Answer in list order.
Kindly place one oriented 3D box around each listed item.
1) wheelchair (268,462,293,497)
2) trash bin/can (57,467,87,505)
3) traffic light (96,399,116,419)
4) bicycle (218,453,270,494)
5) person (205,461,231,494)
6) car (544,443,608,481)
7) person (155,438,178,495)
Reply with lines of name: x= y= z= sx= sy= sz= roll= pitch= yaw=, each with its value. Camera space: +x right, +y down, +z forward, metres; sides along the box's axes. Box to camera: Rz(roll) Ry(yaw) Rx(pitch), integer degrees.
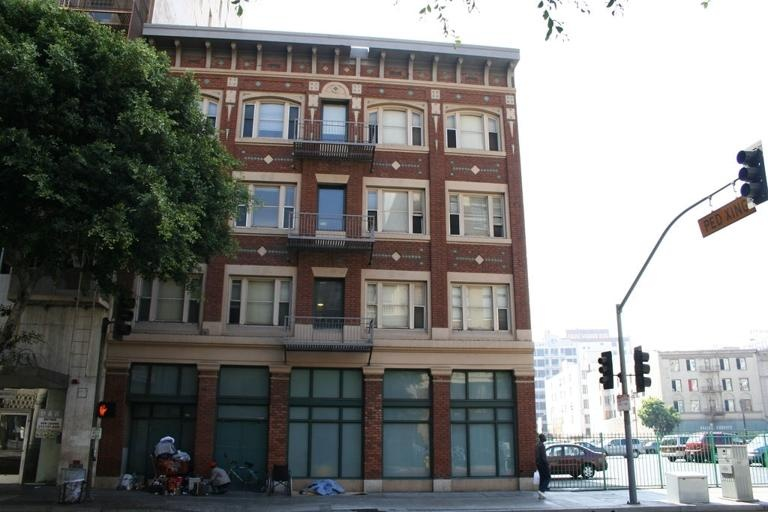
wheelchair: x=-4.452 y=9.792 z=29.423 sx=1.049 sy=1.250 sz=1.110 roll=1 pitch=-17 yaw=-1
trash bin/can: x=-11.470 y=8.503 z=25.111 sx=1.137 sy=1.487 sz=1.111 roll=4 pitch=-13 yaw=-14
traffic light: x=-10.510 y=5.854 z=25.627 sx=0.588 sy=0.542 sz=0.526 roll=10 pitch=-19 yaw=-29
bicycle: x=-6.412 y=9.905 z=30.332 sx=2.303 sy=1.319 sz=1.009 roll=-1 pitch=-23 yaw=3
person: x=-7.184 y=9.725 z=29.508 sx=1.026 sy=1.268 sz=1.628 roll=4 pitch=-17 yaw=-12
car: x=9.450 y=10.218 z=33.198 sx=3.991 sy=1.282 sz=1.722 roll=4 pitch=-13 yaw=-8
person: x=-9.235 y=8.942 z=28.716 sx=1.043 sy=2.284 sz=0.651 roll=3 pitch=-18 yaw=-7
